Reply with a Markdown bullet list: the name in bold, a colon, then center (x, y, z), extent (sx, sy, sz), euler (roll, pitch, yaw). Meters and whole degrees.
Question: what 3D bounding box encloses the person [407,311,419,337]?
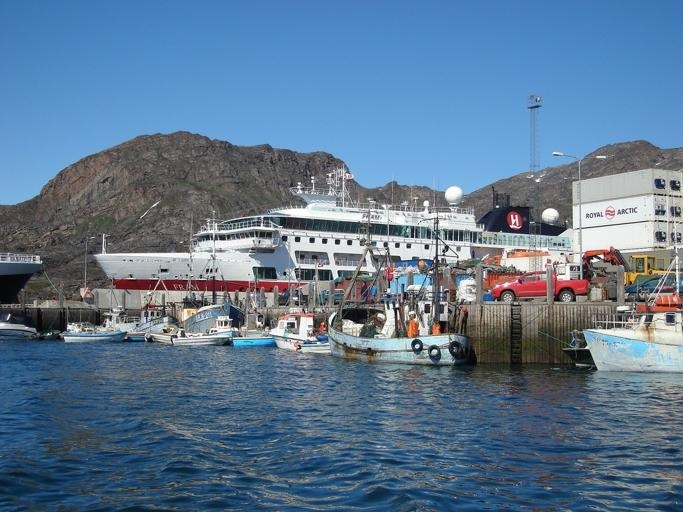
- **person**: center (4.089, 3.938, 53.673), extent (0.669, 1.331, 1.614), euler (-2, 6, 5)
